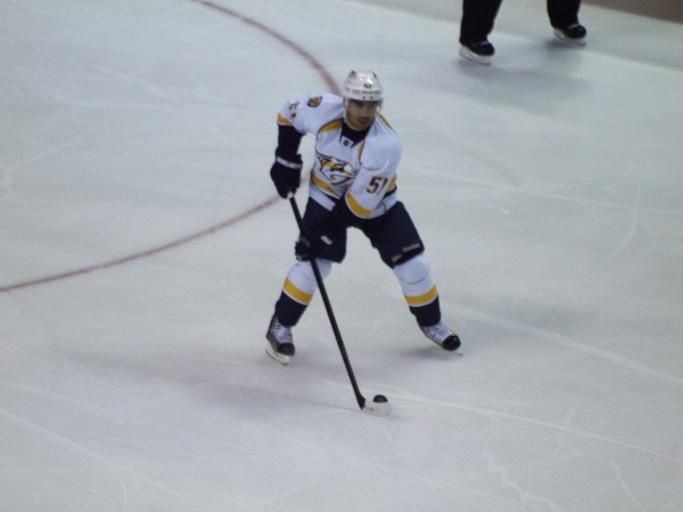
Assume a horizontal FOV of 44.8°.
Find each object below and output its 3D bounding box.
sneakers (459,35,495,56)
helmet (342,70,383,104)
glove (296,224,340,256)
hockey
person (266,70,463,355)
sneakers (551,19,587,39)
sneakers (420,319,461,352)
[{"bbox_3d":[1.074,-1.623,6.449,0.248,0.106,0.126,27,80,22],"label":"sneakers"},{"bbox_3d":[0.100,-0.792,3.945,0.188,0.201,0.227,-4,14,-19],"label":"helmet"},{"bbox_3d":[-0.116,-0.081,4.111,0.187,0.133,0.140,4,6,1],"label":"glove"},{"bbox_3d":[-0.006,0.268,4.255,0.174,0.136,1.187,-15,70,-23],"label":"hockey"},{"bbox_3d":[0.140,-0.210,4.126,1.051,1.493,0.692,7,34,11],"label":"person"},{"bbox_3d":[1.861,-1.828,6.713,0.243,0.160,0.135,12,46,27],"label":"sneakers"},{"bbox_3d":[0.525,0.403,4.380,0.101,0.108,0.276,-45,41,-11],"label":"sneakers"}]
